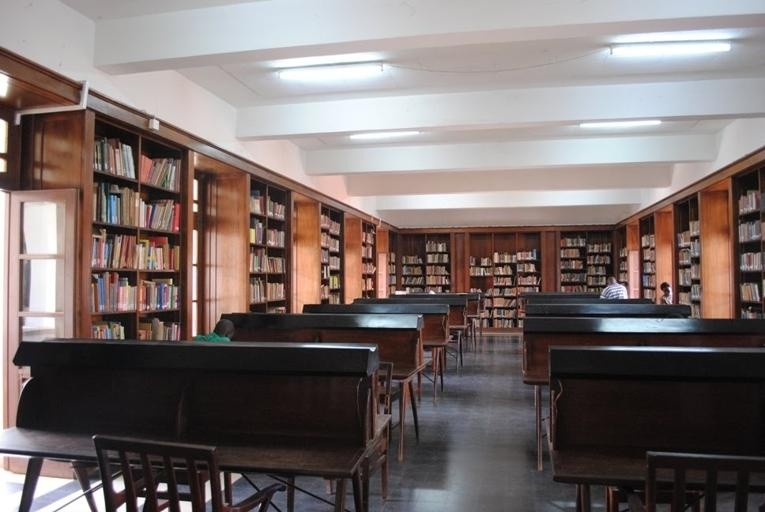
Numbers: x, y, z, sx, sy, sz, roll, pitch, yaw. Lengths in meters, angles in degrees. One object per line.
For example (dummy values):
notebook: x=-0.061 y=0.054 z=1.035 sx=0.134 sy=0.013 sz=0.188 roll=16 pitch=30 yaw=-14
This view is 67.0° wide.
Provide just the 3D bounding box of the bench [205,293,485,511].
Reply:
bench: x=-0.308 y=1.280 z=5.035 sx=1.661 sy=0.902 sz=1.064 roll=-2 pitch=-3 yaw=20

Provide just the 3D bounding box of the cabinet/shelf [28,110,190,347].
cabinet/shelf: x=-2.849 y=-0.234 z=6.185 sx=0.605 sy=2.283 sz=1.754 roll=-3 pitch=-6 yaw=20
